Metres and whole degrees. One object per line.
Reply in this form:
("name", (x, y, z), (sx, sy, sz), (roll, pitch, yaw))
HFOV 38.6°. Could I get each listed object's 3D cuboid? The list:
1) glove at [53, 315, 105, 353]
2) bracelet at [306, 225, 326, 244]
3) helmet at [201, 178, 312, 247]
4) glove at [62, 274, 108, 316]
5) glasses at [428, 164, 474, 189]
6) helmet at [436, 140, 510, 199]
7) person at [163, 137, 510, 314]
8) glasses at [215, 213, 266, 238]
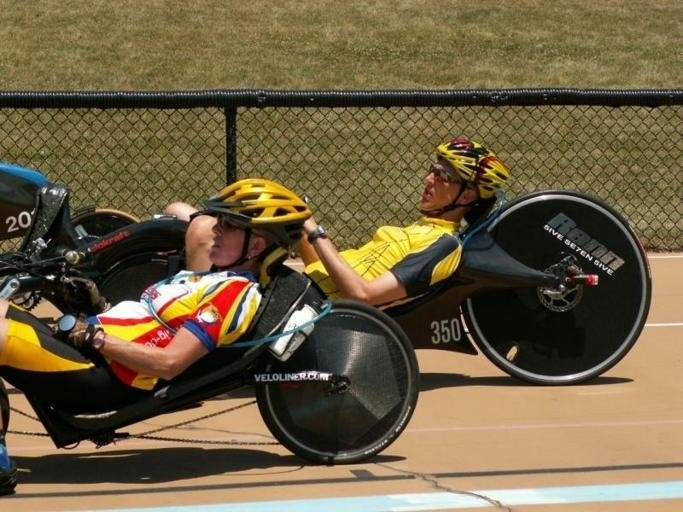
("glove", (-1.370, 0.407, 5.125), (0.286, 0.116, 0.152), (27, 58, -4))
("bracelet", (-0.161, -0.132, 5.976), (0.096, 0.089, 0.060), (-35, 96, -47))
("helmet", (-0.453, -0.247, 5.375), (0.570, 0.198, 0.347), (11, 9, -7))
("glove", (-1.630, 0.246, 6.218), (0.319, 0.184, 0.183), (33, 4, -15))
("glasses", (0.731, -0.539, 6.503), (0.224, 0.048, 0.166), (17, 6, -23))
("helmet", (0.885, -0.599, 6.582), (0.556, 0.247, 0.340), (16, 11, -6))
("person", (0.308, -0.241, 6.510), (2.641, 1.041, 0.906), (13, 9, -14))
("glasses", (-0.553, -0.162, 5.299), (0.203, 0.135, 0.059), (19, 84, 0))
